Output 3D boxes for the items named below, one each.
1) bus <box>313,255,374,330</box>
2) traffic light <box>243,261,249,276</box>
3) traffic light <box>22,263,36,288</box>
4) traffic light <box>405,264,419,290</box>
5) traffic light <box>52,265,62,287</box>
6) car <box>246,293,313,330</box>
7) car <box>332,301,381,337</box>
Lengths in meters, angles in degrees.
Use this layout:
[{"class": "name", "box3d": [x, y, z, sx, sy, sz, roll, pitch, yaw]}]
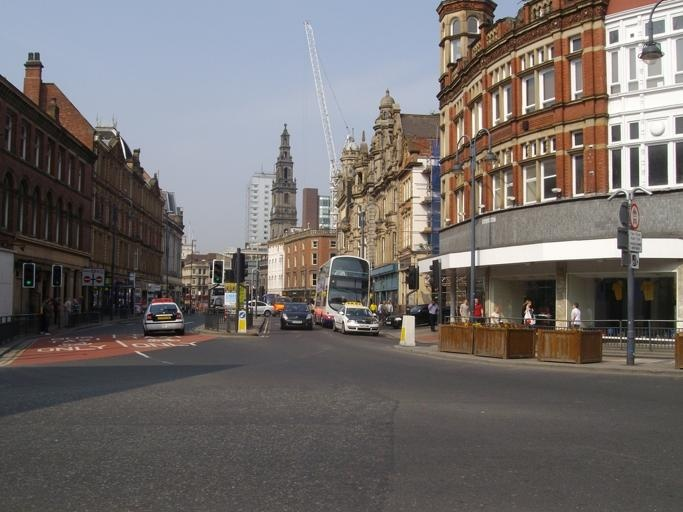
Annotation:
[{"class": "bus", "box3d": [-0.018, 2.060, 48.247, 1.843, 3.415, 6.150, 2, -4, -9]}, {"class": "traffic light", "box3d": [-4.790, 0.663, 36.359, 0.459, 0.569, 0.542, 0, -2, -1]}, {"class": "traffic light", "box3d": [-13.861, 0.840, 32.611, 0.444, 1.101, 1.217, 2, -8, -20]}, {"class": "traffic light", "box3d": [3.447, 1.082, 36.297, 0.427, 1.080, 1.067, -2, -8, 18]}, {"class": "traffic light", "box3d": [-14.350, 1.021, 37.028, 0.375, 1.061, 1.100, 2, -8, -17]}, {"class": "car", "box3d": [-3.021, 3.809, 47.137, 2.362, 2.524, 9.728, 0, -6, -7]}, {"class": "car", "box3d": [0.771, 3.440, 40.162, 1.702, 1.853, 3.838, 1, -8, -12]}]
